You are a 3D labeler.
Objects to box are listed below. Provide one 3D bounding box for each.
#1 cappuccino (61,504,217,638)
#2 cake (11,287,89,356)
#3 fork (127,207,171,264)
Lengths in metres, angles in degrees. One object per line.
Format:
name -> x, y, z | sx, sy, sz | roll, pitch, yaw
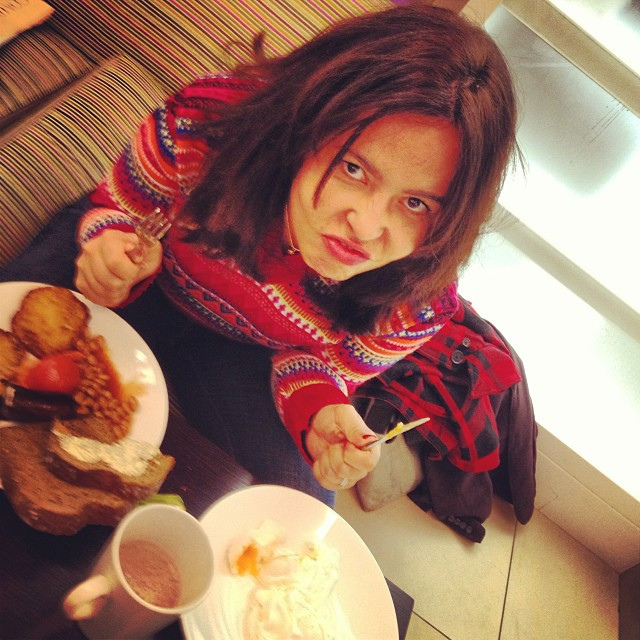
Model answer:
cappuccino -> -0.182, 0.266, 0.671 | 0.111, 0.165, 0.095 | 34, 36, -7
cake -> -0.329, 0.003, 0.819 | 0.088, 0.043, 0.077 | -16, 57, -48
fork -> -0.245, -0.123, 0.960 | 0.034, 0.097, 0.077 | 28, 36, -18
